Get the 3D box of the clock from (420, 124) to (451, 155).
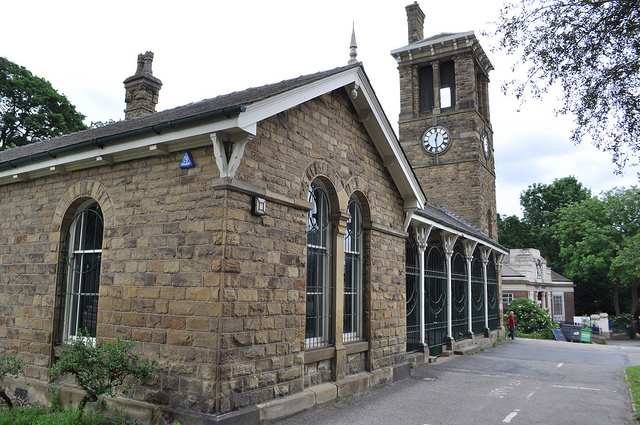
[{"bbox_3d":[7.021,-4.321,30.114,1.738,1.837,0.251,5,-9,36],"label":"clock"}]
